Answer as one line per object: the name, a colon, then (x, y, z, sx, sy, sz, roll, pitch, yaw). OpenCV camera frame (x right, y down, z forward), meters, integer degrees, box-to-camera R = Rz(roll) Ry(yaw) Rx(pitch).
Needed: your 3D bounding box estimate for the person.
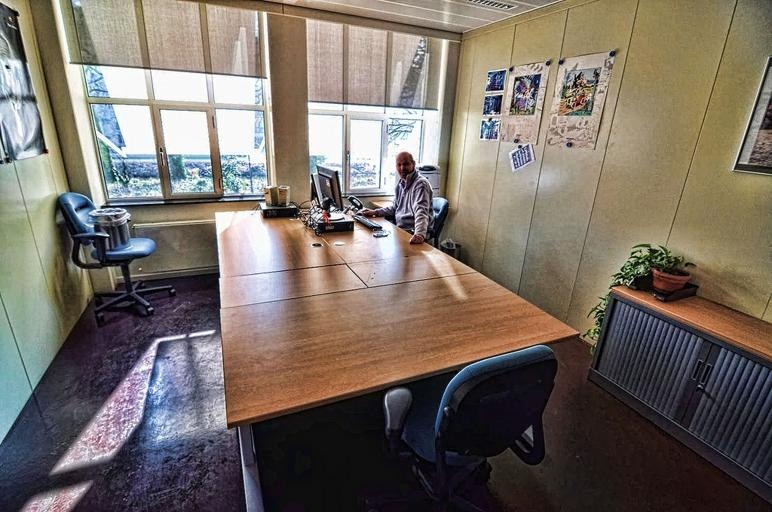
person: (0.111, -0.737, 5.871, 0.660, 0.800, 1.148, -9, 24, -23)

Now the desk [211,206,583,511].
desk: (-0.179, 0.493, 3.725, 1.934, 0.833, 3.542, -8, 29, -23)

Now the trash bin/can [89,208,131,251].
trash bin/can: (-3.021, -0.312, 5.262, 0.278, 0.431, 0.350, 0, 18, 3)

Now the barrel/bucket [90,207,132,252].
barrel/bucket: (-2.984, -0.345, 5.277, 0.443, 0.533, 0.434, 3, 17, -1)

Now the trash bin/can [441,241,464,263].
trash bin/can: (0.895, -0.084, 6.398, 0.287, 0.324, 0.286, -2, 23, 1)

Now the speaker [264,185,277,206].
speaker: (-1.372, -0.725, 5.648, 0.149, 0.280, 0.147, -19, 34, -34)

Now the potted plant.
potted plant: (2.378, 0.425, 4.415, 0.796, 1.028, 0.505, 11, 22, 33)
